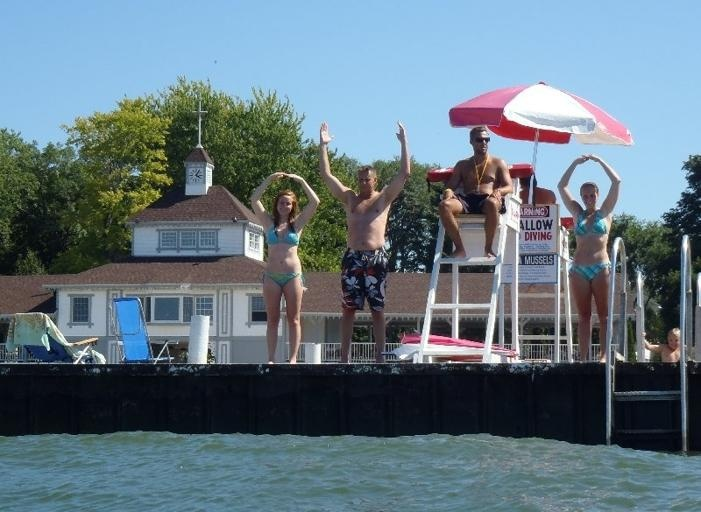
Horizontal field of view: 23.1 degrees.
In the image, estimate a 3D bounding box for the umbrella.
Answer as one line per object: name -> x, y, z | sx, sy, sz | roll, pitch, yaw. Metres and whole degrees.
umbrella -> 4.757, -2.826, 44.126 | 4.730, 3.603, 4.699 | 7, 0, 40
